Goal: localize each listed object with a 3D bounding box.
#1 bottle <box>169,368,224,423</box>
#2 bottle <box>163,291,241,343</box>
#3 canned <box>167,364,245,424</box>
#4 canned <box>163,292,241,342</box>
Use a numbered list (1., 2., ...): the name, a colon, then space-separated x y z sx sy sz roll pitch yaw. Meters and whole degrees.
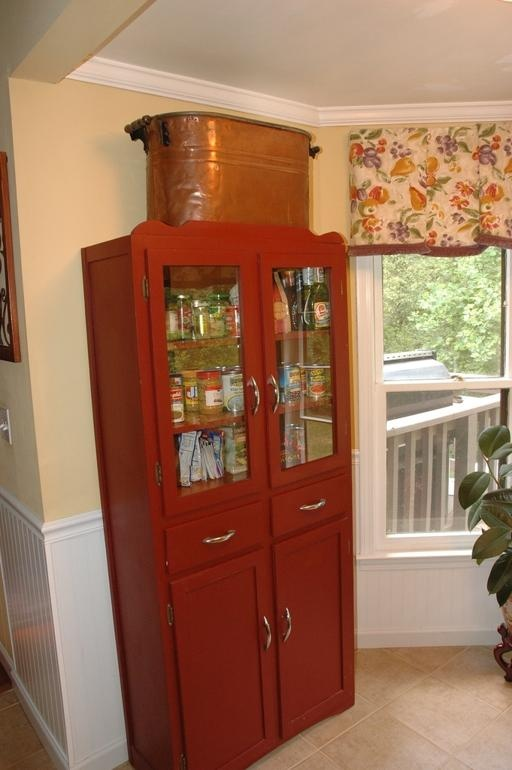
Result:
1. bottle: -0.164 0.032 1.690 0.161 0.161 0.089 -6 8 -31
2. bottle: -0.151 -0.188 1.673 0.247 0.134 0.059 -6 7 -33
3. canned: -0.140 0.021 1.711 0.197 0.198 0.121 -4 10 -27
4. canned: -0.149 -0.187 1.674 0.238 0.128 0.056 -4 7 -33
